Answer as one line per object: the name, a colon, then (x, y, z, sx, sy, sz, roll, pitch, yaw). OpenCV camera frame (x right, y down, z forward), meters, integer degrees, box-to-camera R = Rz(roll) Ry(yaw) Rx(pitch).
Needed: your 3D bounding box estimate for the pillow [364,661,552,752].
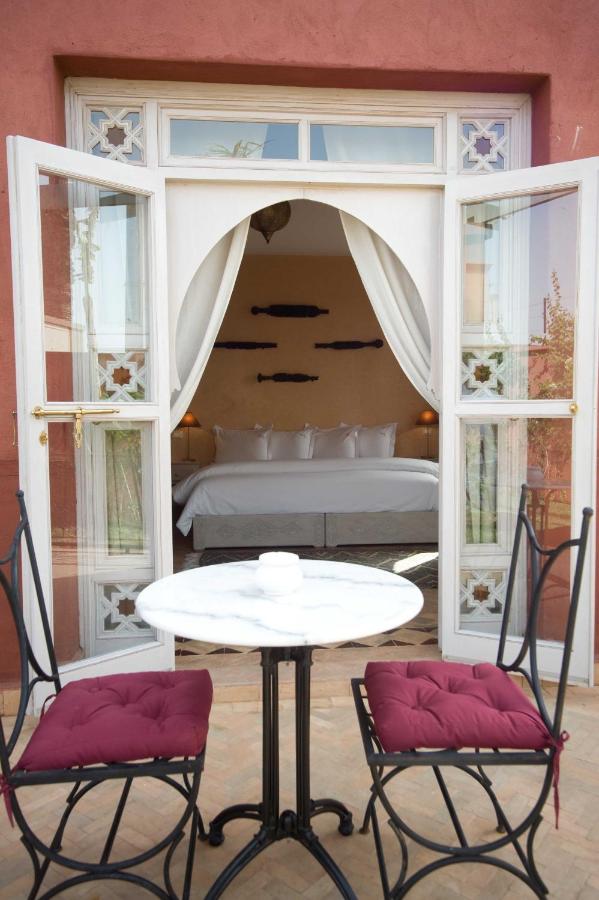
pillow: (0.353, 0.615, 2.163, 0.384, 0.112, 0.391, 2, 7, -2)

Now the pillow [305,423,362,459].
pillow: (0.268, -0.057, 7.041, 0.261, 0.085, 0.283, -8, 42, 10)

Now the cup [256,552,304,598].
cup: (-0.050, 0.299, 2.172, 0.111, 0.085, 0.109, 0, 2, 0)

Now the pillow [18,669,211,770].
pillow: (-0.409, 0.623, 2.148, 0.458, 0.068, 0.473, -3, 11, 12)

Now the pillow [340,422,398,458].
pillow: (0.529, -0.087, 7.121, 0.306, 0.209, 0.067, -2, -31, -1)

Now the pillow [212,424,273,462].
pillow: (-0.463, -0.025, 6.958, 0.326, 0.282, 0.097, -1, -23, 9)
